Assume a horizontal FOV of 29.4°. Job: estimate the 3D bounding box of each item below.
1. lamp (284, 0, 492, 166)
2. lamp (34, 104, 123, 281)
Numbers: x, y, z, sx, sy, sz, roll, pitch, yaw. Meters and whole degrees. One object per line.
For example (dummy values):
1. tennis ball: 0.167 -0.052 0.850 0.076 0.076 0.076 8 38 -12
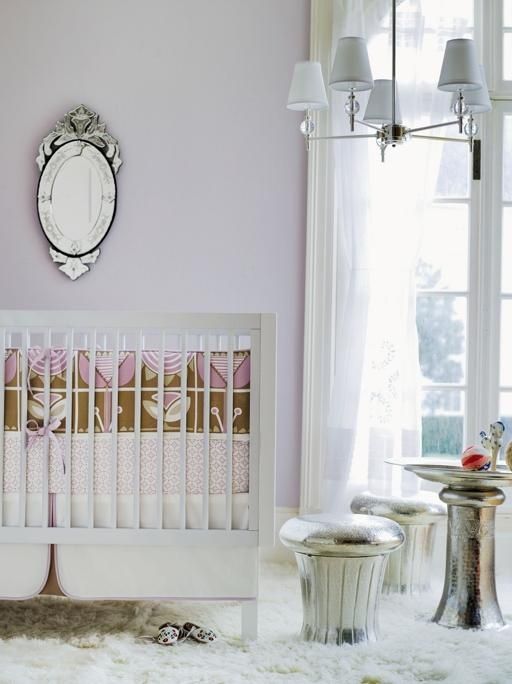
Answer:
1. lamp: 0.398 -0.680 2.850 0.627 0.536 0.633 3 3 16
2. lamp: -0.660 -0.557 3.631 0.309 0.643 0.083 0 4 -7
